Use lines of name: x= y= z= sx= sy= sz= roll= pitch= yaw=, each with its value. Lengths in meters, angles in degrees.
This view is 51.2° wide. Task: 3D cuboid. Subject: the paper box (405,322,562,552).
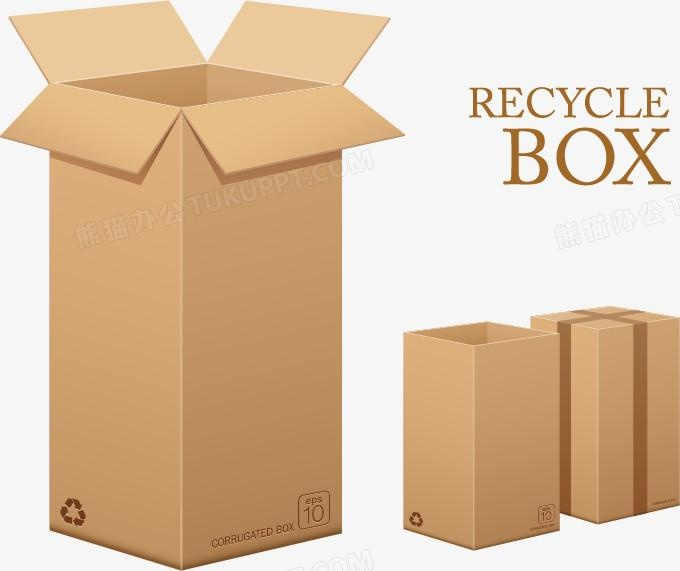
paper box: x=0.456 y=0.462 z=2.294 sx=0.558 sy=0.647 sz=0.581 roll=1 pitch=3 yaw=33
